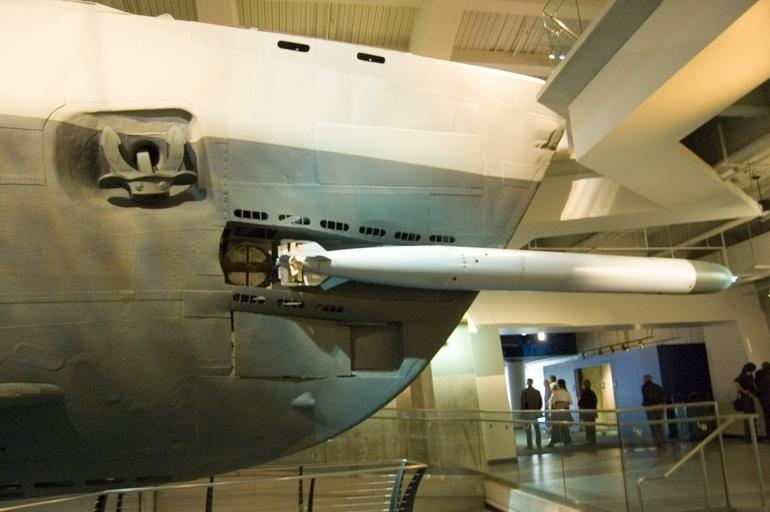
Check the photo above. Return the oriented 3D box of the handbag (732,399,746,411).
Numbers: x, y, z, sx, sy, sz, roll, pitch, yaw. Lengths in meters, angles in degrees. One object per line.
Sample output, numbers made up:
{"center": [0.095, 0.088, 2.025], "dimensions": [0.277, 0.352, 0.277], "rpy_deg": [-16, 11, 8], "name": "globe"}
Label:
{"center": [7.678, 3.258, 13.809], "dimensions": [0.282, 0.344, 0.285], "rpy_deg": [0, -5, 27], "name": "handbag"}
